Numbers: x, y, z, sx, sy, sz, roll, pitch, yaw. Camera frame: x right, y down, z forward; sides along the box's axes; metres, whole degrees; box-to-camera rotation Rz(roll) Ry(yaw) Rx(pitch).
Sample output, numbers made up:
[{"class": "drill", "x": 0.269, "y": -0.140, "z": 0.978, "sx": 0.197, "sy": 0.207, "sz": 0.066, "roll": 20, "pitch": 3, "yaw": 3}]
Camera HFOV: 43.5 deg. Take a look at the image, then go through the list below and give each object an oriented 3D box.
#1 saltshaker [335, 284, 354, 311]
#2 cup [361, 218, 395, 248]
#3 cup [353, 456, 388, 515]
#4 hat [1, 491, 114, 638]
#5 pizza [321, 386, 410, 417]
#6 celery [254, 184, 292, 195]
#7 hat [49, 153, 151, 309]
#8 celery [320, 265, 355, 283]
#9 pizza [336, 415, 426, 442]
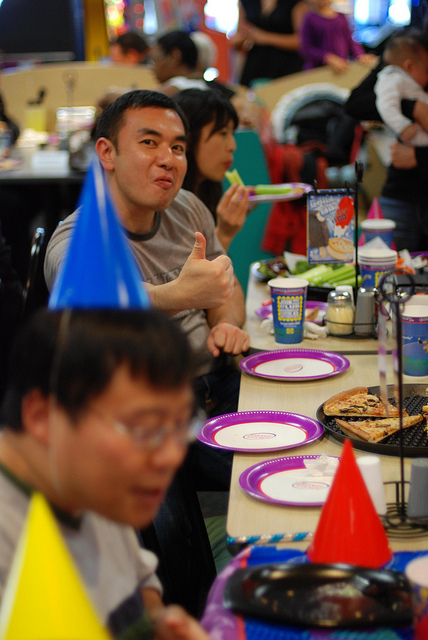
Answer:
[{"class": "saltshaker", "x": 0.456, "y": -0.078, "z": 1.869, "sx": 0.083, "sy": 0.107, "sz": 0.078, "roll": -1, "pitch": 14, "yaw": 2}, {"class": "cup", "x": 0.665, "y": -0.355, "z": 2.185, "sx": 0.137, "sy": 0.138, "sz": 0.135, "roll": -2, "pitch": 14, "yaw": 0}, {"class": "cup", "x": 0.238, "y": 0.255, "z": 0.818, "sx": 0.042, "sy": 0.095, "sz": 0.045, "roll": -7, "pitch": 19, "yaw": 2}, {"class": "hat", "x": -0.134, "y": 0.200, "z": 0.407, "sx": 0.062, "sy": 0.099, "sz": 0.093, "roll": -21, "pitch": 23, "yaw": -35}, {"class": "pizza", "x": 0.335, "y": 0.194, "z": 1.214, "sx": 0.126, "sy": 0.023, "sz": 0.123, "roll": 5, "pitch": 13, "yaw": 13}, {"class": "celery", "x": 0.304, "y": -0.667, "z": 2.764, "sx": 0.179, "sy": 0.021, "sz": 0.271, "roll": -3, "pitch": 18, "yaw": 8}, {"class": "hat", "x": -0.076, "y": -0.050, "z": 0.352, "sx": 0.063, "sy": 0.104, "sz": 0.066, "roll": -3, "pitch": -12, "yaw": -9}, {"class": "celery", "x": 0.498, "y": -0.184, "z": 2.160, "sx": 0.111, "sy": 0.028, "sz": 0.029, "roll": -30, "pitch": -31, "yaw": 23}, {"class": "pizza", "x": 0.340, "y": 0.221, "z": 1.082, "sx": 0.128, "sy": 0.024, "sz": 0.095, "roll": -8, "pitch": 6, "yaw": -14}]
